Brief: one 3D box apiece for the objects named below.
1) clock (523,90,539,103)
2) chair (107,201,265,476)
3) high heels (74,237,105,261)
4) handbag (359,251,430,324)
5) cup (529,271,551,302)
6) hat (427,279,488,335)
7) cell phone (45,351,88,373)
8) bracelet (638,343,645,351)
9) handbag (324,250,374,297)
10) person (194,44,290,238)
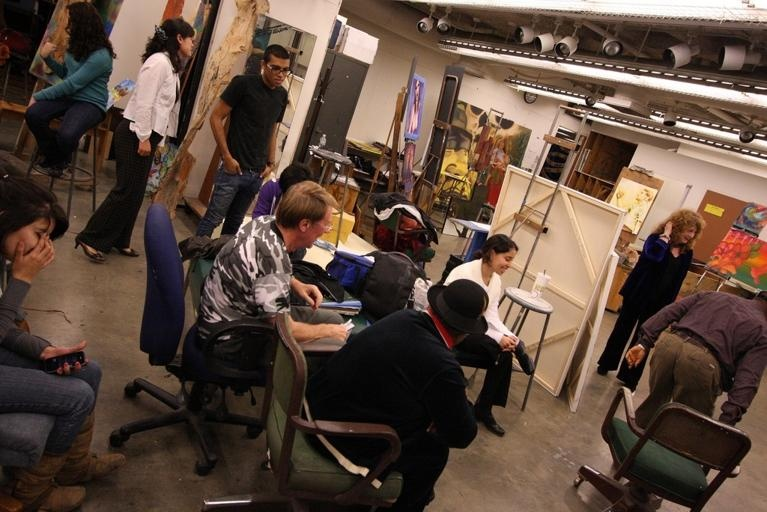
[{"bbox_3d":[4.202,-4.494,14.475,0.555,0.267,0.180,10,11,-39],"label":"clock"},{"bbox_3d":[-1.547,0.710,3.897,1.222,1.847,1.358,6,26,-25],"label":"chair"},{"bbox_3d":[-3.126,-0.073,5.356,0.340,0.163,0.182,27,12,-9],"label":"high heels"},{"bbox_3d":[0.046,0.288,4.682,0.611,0.693,0.650,20,-4,-13],"label":"handbag"},{"bbox_3d":[1.898,0.371,6.100,0.181,0.390,0.177,28,-2,1],"label":"cup"},{"bbox_3d":[0.497,0.325,3.303,0.381,0.162,0.343,35,40,4],"label":"hat"},{"bbox_3d":[-1.940,0.637,3.059,0.168,0.099,0.172,-8,-11,29],"label":"cell phone"},{"bbox_3d":[2.522,0.878,4.943,0.038,0.020,0.055,6,36,-29],"label":"bracelet"},{"bbox_3d":[-0.328,0.109,4.644,0.383,0.293,0.408,21,10,36],"label":"handbag"},{"bbox_3d":[-1.572,-0.999,5.681,0.811,2.666,0.603,0,24,-45],"label":"person"}]
